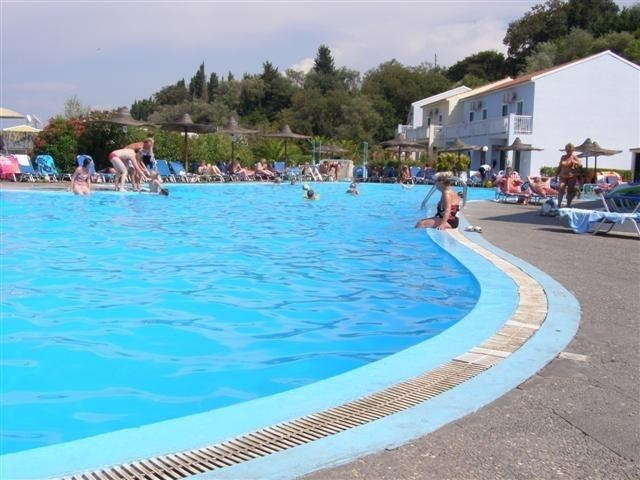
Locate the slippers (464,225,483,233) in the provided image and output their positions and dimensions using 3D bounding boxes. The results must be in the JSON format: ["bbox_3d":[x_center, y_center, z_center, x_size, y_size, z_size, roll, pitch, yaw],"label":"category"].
[{"bbox_3d":[3.096,-0.187,10.168,0.343,0.105,0.430,0,11,13],"label":"slippers"}]

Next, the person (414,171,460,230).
[{"bbox_3d":[2.356,-0.634,10.575,1.169,1.392,0.832,3,10,7],"label":"person"}]
